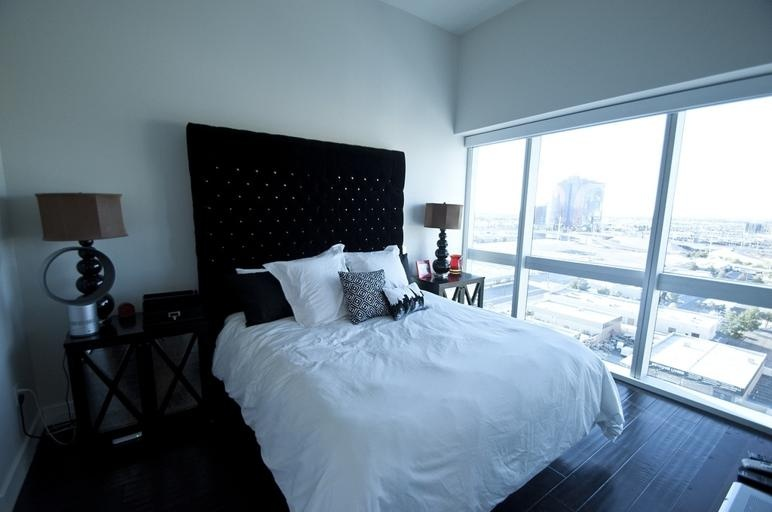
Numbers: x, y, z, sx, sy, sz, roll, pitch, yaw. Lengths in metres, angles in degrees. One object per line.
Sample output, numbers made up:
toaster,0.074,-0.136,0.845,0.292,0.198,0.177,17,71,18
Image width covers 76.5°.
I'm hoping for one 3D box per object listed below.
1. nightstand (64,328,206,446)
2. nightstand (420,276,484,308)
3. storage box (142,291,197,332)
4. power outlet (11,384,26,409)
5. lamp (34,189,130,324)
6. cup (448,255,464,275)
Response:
nightstand,-2.153,1.092,4.143,0.899,0.832,0.483,-7,9,-39
nightstand,0.766,0.262,5.718,0.567,0.550,0.424,-8,13,-36
storage box,-1.892,0.396,4.278,0.427,0.252,0.313,-3,11,-26
power outlet,-3.010,1.142,4.010,0.034,0.145,0.082,-7,-10,31
lamp,-2.501,0.014,4.083,0.603,1.083,0.348,-6,12,-28
cup,0.892,0.093,5.840,0.146,0.233,0.229,7,17,25
